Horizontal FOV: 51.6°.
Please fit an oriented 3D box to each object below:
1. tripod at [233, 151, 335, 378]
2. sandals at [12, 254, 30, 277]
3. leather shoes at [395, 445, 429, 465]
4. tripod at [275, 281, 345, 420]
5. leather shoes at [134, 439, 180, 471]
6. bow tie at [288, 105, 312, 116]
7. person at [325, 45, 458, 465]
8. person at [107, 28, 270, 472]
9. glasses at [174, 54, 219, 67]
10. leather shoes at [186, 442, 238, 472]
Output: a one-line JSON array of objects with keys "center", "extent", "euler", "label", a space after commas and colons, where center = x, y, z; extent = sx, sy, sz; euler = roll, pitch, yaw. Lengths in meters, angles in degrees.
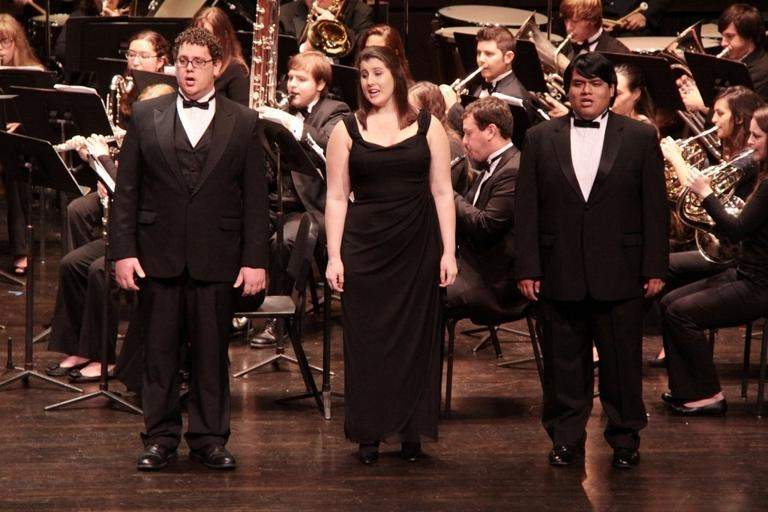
[{"center": [-0.626, 0.009, 5.262], "extent": [0.606, 1.504, 0.679], "euler": [4, -15, -13], "label": "tripod"}, {"center": [-3.054, 0.079, 6.725], "extent": [0.161, 0.200, 0.482], "euler": [-1, -6, -22], "label": "sandals"}, {"center": [0.148, 1.060, 4.229], "extent": [0.190, 0.081, 0.065], "euler": [-1, 38, -15], "label": "leather shoes"}, {"center": [-0.423, 0.589, 4.911], "extent": [0.340, 0.787, 0.387], "euler": [-7, -16, 22], "label": "tripod"}, {"center": [-1.154, 1.018, 4.037], "extent": [0.100, 0.115, 0.244], "euler": [-1, -5, 18], "label": "leather shoes"}, {"center": [-0.621, -1.084, 5.870], "extent": [0.068, 0.076, 0.242], "euler": [-13, 20, -42], "label": "bow tie"}, {"center": [0.018, 0.011, 4.215], "extent": [0.722, 2.113, 0.523], "euler": [-1, 4, -3], "label": "person"}, {"center": [-0.970, -0.028, 4.022], "extent": [0.785, 2.170, 0.586], "euler": [-4, 16, -15], "label": "person"}, {"center": [-0.928, -0.968, 3.953], "extent": [0.175, 0.054, 0.053], "euler": [-3, 15, -14], "label": "glasses"}, {"center": [-0.867, 1.027, 4.061], "extent": [0.246, 0.114, 0.105], "euler": [2, 3, 43], "label": "leather shoes"}]
